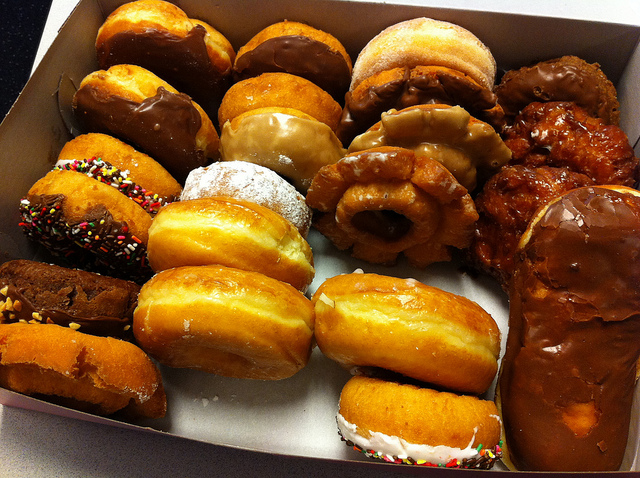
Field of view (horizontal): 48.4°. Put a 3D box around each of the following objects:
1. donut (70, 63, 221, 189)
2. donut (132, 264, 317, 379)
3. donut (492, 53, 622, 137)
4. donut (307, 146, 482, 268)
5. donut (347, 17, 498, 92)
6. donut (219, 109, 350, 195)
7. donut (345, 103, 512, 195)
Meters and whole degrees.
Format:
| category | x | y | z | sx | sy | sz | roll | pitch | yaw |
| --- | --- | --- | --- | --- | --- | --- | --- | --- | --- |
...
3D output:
| category | x | y | z | sx | sy | sz | roll | pitch | yaw |
| --- | --- | --- | --- | --- | --- | --- | --- | --- | --- |
| donut | -0.551 | -0.388 | 2.288 | 0.380 | 0.356 | 0.125 | 38 | 65 | -14 |
| donut | -0.250 | 0.236 | 1.996 | 0.373 | 0.371 | 0.138 | 19 | 60 | -19 |
| donut | 0.915 | -0.484 | 2.413 | 0.333 | 0.306 | 0.120 | 21 | 76 | 30 |
| donut | 0.271 | -0.072 | 2.278 | 0.495 | 0.529 | 0.154 | 4 | 54 | -42 |
| donut | 0.351 | -0.592 | 2.328 | 0.298 | 0.290 | 0.178 | 20 | 64 | -31 |
| donut | -0.119 | -0.316 | 2.369 | 0.425 | 0.410 | 0.171 | 12 | 76 | 33 |
| donut | 0.346 | -0.276 | 2.294 | 0.492 | 0.500 | 0.142 | -2 | 60 | 12 |
